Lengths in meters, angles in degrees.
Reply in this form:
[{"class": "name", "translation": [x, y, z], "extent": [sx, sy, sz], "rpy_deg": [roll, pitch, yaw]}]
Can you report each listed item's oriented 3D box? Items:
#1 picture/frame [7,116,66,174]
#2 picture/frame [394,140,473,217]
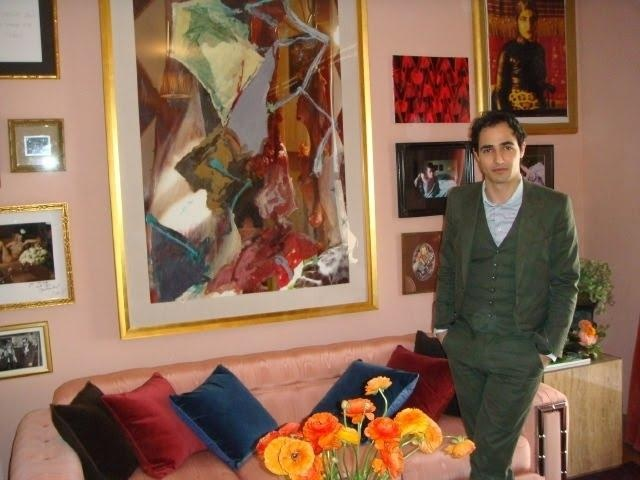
[{"class": "picture/frame", "translation": [-1.832, -0.607, 3.551], "extent": [0.321, 0.360, 0.023], "rpy_deg": [-3, 7, -20]}, {"class": "picture/frame", "translation": [0.805, -0.443, 4.095], "extent": [0.555, 0.530, 0.050], "rpy_deg": [-3, 2, -18]}]
